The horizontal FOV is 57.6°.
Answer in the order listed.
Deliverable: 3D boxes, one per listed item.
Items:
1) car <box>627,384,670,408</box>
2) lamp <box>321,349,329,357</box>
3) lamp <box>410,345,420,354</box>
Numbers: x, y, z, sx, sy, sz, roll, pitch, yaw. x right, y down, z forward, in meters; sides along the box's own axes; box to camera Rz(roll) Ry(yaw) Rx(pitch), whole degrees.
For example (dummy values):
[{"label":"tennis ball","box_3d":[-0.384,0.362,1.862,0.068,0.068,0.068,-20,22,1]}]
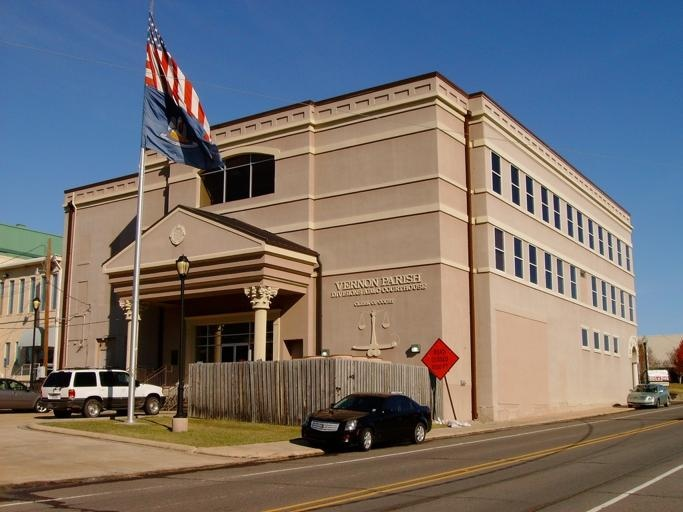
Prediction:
[{"label":"car","box_3d":[20.904,9.513,42.456,3.436,1.824,1.570,15,-20,-38]},{"label":"lamp","box_3d":[-0.832,4.690,29.661,0.237,0.338,0.461,-1,-7,5]},{"label":"lamp","box_3d":[3.392,4.277,28.692,0.263,0.421,0.489,16,-21,-43]}]
